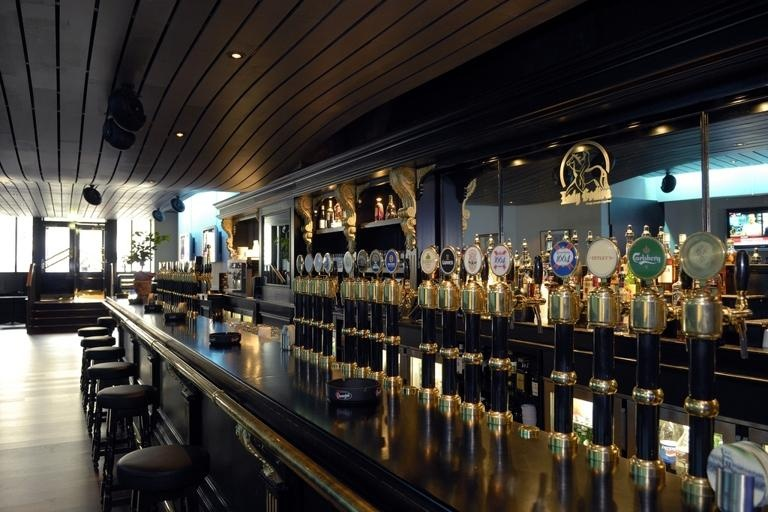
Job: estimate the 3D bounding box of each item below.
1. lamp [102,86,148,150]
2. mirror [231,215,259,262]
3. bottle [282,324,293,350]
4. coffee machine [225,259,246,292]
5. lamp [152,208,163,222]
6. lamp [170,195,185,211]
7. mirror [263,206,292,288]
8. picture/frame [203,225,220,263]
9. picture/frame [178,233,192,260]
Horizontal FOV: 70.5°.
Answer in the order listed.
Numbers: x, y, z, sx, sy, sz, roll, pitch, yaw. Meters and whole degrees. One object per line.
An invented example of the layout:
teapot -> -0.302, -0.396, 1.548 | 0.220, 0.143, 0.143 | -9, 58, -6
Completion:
lamp -> -2.185, -1.222, 4.515 | 0.168, 0.351, 0.553 | -5, 36, -37
mirror -> -2.435, -0.295, 9.471 | 0.243, 0.782, 0.734 | -1, 1, 3
bottle -> -0.622, 0.518, 3.444 | 0.095, 0.152, 0.053 | 2, 9, 27
coffee machine -> -2.341, 0.329, 8.573 | 0.310, 0.583, 0.524 | 1, 0, -30
lamp -> -5.418, -0.936, 13.092 | 0.368, 0.382, 0.088 | 13, 14, 32
lamp -> -4.089, -0.939, 10.715 | 0.102, 0.444, 0.437 | -18, 36, -15
mirror -> -1.427, -0.125, 7.315 | 0.053, 1.137, 1.099 | 1, -2, -30
picture/frame -> -4.162, -0.290, 13.103 | 0.095, 0.870, 0.870 | 1, -3, -32
picture/frame -> -6.136, -0.269, 16.753 | 0.104, 0.919, 0.659 | 6, -16, -35
